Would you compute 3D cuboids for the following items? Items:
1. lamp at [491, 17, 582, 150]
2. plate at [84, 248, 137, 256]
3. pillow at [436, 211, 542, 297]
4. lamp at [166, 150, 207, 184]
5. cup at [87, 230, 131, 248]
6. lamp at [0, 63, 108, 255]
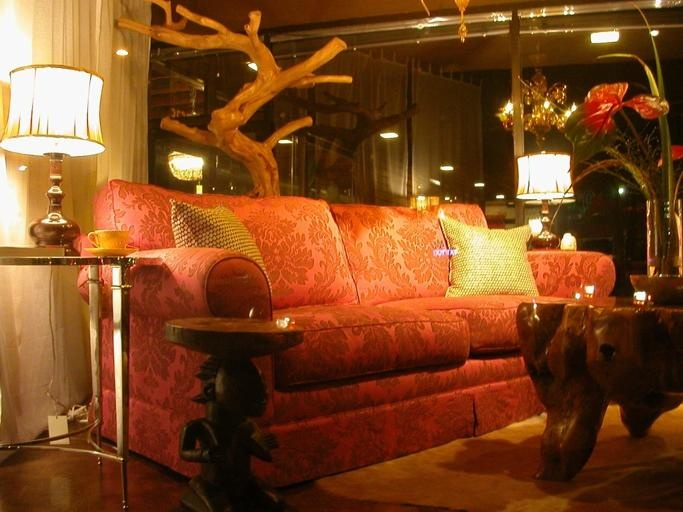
[{"bbox_3d":[1.666,-1.323,5.279,0.491,0.886,0.547,-1,1,5],"label":"lamp"},{"bbox_3d":[-0.860,-0.015,2.337,0.172,0.033,0.181,-3,6,-20],"label":"plate"},{"bbox_3d":[0.739,0.053,3.480,0.682,0.656,0.346,1,-7,-4],"label":"pillow"},{"bbox_3d":[-1.298,-0.740,5.201,0.050,0.220,0.211,19,20,41],"label":"lamp"},{"bbox_3d":[-0.877,-0.059,2.354,0.097,0.050,0.084,-6,-3,-7],"label":"cup"},{"bbox_3d":[-1.191,-0.402,2.586,0.412,0.740,0.429,-3,6,-22],"label":"lamp"}]
